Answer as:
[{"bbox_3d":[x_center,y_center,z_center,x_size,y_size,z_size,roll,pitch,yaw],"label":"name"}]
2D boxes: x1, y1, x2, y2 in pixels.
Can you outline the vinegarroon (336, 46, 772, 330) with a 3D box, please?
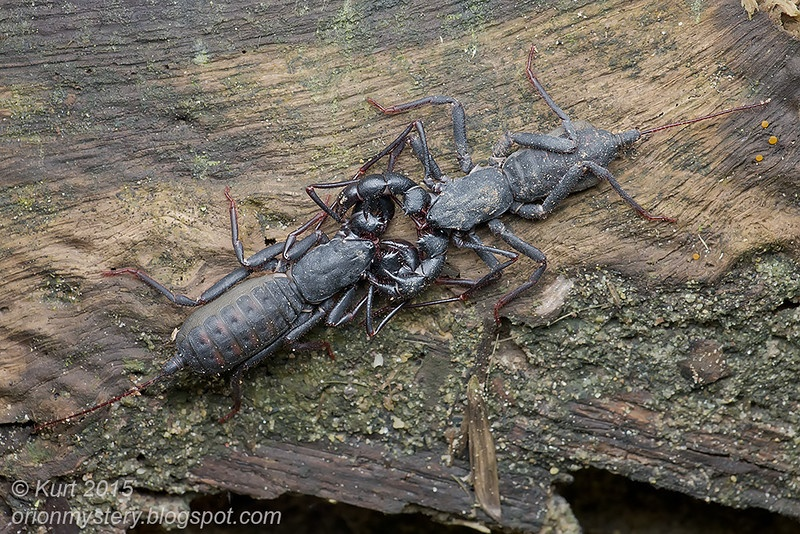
[{"bbox_3d":[0.957,-0.655,5.985,2.864,1.691,0.505,-22,-1,5],"label":"vinegarroon"}]
